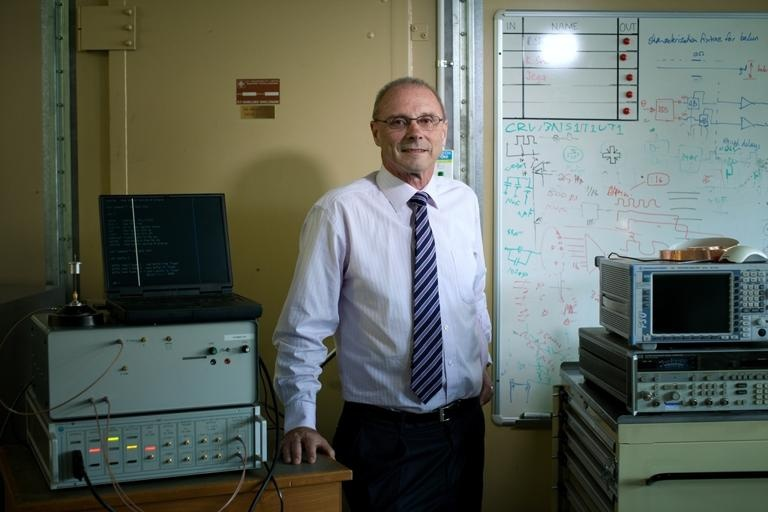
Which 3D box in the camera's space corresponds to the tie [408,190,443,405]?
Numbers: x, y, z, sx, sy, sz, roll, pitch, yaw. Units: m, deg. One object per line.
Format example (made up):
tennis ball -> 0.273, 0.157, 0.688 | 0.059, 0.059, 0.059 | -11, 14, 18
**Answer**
tie -> 0.146, 0.145, 2.342 | 0.121, 0.741, 0.239 | -2, 7, 2
